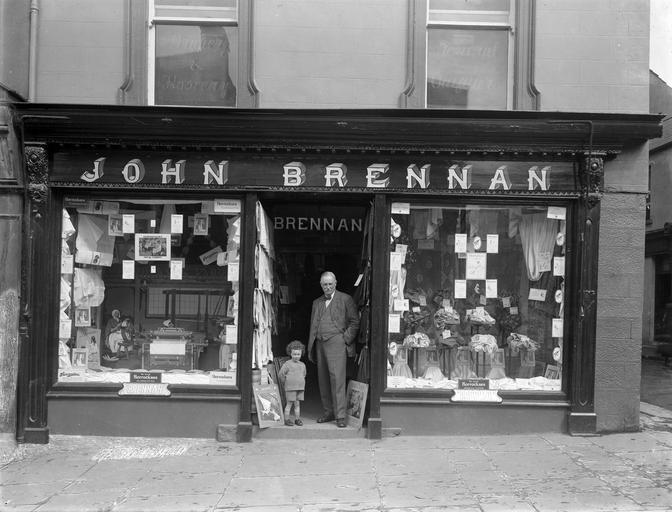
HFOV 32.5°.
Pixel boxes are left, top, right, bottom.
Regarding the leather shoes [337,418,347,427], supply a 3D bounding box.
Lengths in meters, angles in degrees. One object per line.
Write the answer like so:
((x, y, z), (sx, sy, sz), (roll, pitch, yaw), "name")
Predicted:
((0.119, 2.391, 16.704), (0.203, 0.134, 0.144), (3, -4, -38), "leather shoes")

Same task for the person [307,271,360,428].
((-0.036, 1.345, 16.892), (0.756, 2.211, 0.356), (0, -3, 7), "person")

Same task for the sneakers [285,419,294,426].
((-0.679, 2.390, 16.712), (0.124, 0.085, 0.140), (0, -3, -3), "sneakers")

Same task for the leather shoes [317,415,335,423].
((-0.148, 2.371, 16.924), (0.301, 0.116, 0.101), (3, -2, -21), "leather shoes")

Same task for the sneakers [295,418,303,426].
((-0.545, 2.388, 16.736), (0.077, 0.062, 0.146), (1, -8, -17), "sneakers")

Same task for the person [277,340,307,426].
((-0.631, 1.843, 16.864), (0.346, 1.197, 0.421), (1, -3, -20), "person")
